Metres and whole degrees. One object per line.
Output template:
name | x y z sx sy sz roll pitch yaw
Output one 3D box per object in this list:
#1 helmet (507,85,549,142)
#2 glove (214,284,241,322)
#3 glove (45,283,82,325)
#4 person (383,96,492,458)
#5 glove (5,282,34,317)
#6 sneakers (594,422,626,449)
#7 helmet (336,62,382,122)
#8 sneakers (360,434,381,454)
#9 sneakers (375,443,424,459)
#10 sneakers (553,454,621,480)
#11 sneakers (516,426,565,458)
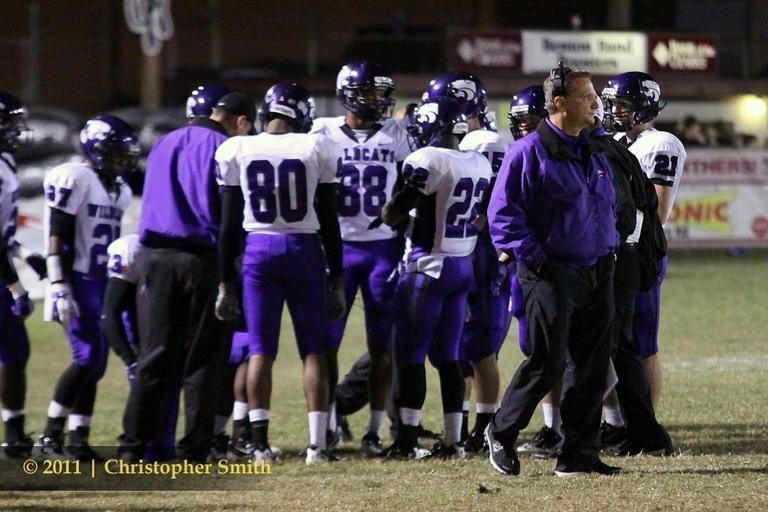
helmet | 1.584 -1.634 15.064 0.456 0.526 0.572 9 32 38
glove | -1.625 0.469 13.812 0.234 0.396 0.119 -4 15 -7
glove | -3.327 0.497 14.440 0.529 0.432 0.302 -2 4 -11
person | 0.475 0.473 14.060 1.044 3.183 0.836 -2 15 3
glove | -3.875 0.474 14.386 0.138 0.357 0.270 -25 -6 -42
sneakers | 2.315 1.888 14.165 0.362 0.240 0.272 1 -2 -4
helmet | -0.294 -1.830 14.598 0.614 0.510 0.486 13 12 4
sneakers | -0.162 1.994 14.298 0.222 0.209 0.305 -2 13 -1
sneakers | 0.137 2.024 14.166 0.533 0.189 0.163 3 -1 3
sneakers | 1.940 2.109 13.558 0.744 0.248 0.231 -1 -1 -2
sneakers | 1.658 1.953 14.242 0.593 0.212 0.213 -7 2 37
